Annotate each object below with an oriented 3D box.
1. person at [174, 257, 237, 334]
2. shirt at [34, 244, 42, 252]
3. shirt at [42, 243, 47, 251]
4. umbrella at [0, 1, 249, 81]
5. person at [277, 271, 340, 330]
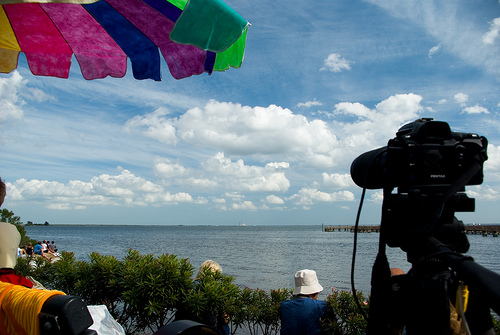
[{"bbox_3d":[-0.709,2.204,6.915,0.974,1.103,0.895,-1,-10,16],"label":"person"},{"bbox_3d":[-13.390,5.020,25.963,0.546,0.533,0.308,4,-9,-8],"label":"shirt"},{"bbox_3d":[-13.785,5.324,27.789,0.384,0.434,0.392,2,-1,-27],"label":"shirt"},{"bbox_3d":[-1.813,-1.737,5.542,3.601,0.800,1.310,0,-10,12],"label":"umbrella"},{"bbox_3d":[0.938,2.057,6.412,0.892,0.864,0.644,0,-9,11],"label":"person"}]
